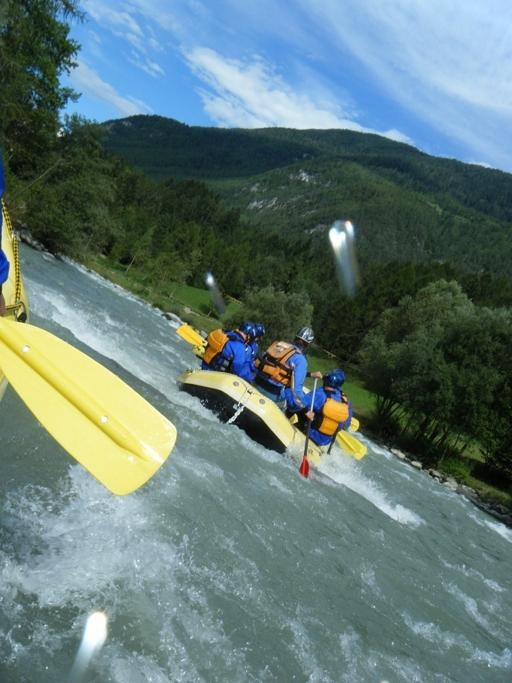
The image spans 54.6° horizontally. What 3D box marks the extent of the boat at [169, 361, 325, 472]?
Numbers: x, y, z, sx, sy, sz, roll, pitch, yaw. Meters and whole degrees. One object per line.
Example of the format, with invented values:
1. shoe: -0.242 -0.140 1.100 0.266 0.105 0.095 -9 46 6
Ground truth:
1. boat: -0.252 1.341 10.042 2.708 0.628 1.601 29 3 26

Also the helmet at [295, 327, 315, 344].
1. helmet: 1.168 -0.130 11.332 0.435 0.361 0.326 34 -11 -26

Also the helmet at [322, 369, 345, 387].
1. helmet: 1.732 0.744 10.840 0.329 0.318 0.513 36 20 1

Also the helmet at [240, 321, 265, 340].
1. helmet: -0.088 -0.307 11.288 0.520 0.454 0.370 -8 44 -23

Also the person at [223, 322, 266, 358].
1. person: -0.237 -0.106 11.582 0.723 0.815 0.927 20 -24 19
